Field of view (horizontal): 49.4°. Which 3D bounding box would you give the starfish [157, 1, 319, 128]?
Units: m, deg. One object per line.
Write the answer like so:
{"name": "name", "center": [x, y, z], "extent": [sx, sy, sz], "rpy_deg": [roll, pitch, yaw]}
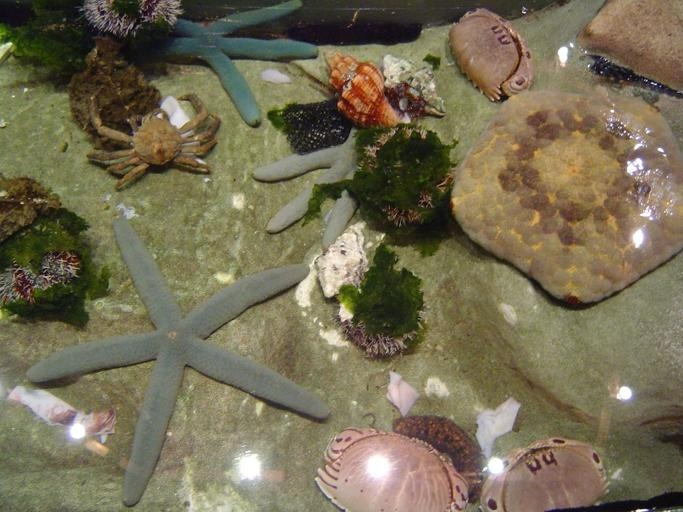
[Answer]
{"name": "starfish", "center": [-0.840, -1.666, 6.689], "extent": [1.254, 1.034, 0.791], "rpy_deg": [24, 39, 34]}

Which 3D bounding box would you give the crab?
{"name": "crab", "center": [-1.543, -0.940, 6.288], "extent": [0.973, 0.282, 0.823], "rpy_deg": [-9, 88, -6]}
